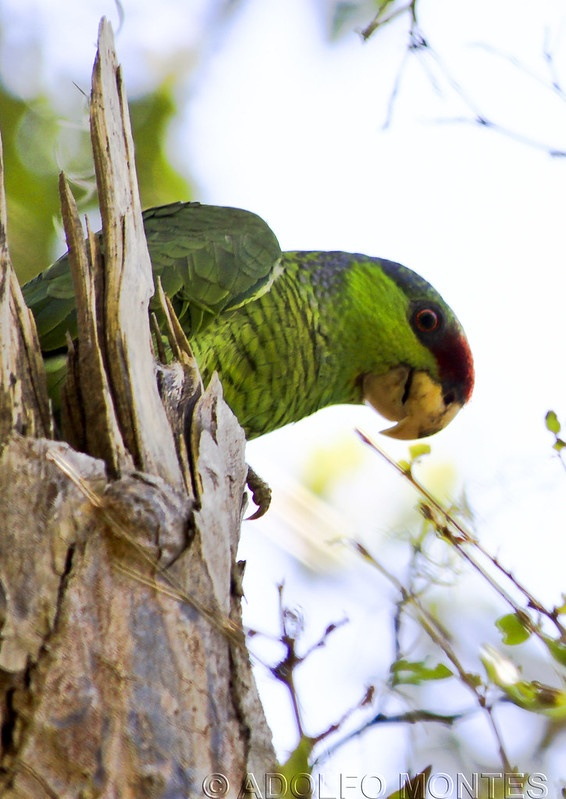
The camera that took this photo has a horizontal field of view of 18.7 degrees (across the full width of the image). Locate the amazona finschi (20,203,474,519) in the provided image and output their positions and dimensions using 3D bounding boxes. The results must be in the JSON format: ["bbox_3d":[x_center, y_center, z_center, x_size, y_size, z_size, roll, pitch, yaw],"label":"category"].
[{"bbox_3d":[-0.065,-0.116,3.231,0.947,0.626,0.370,26,-21,-38],"label":"amazona finschi"}]
